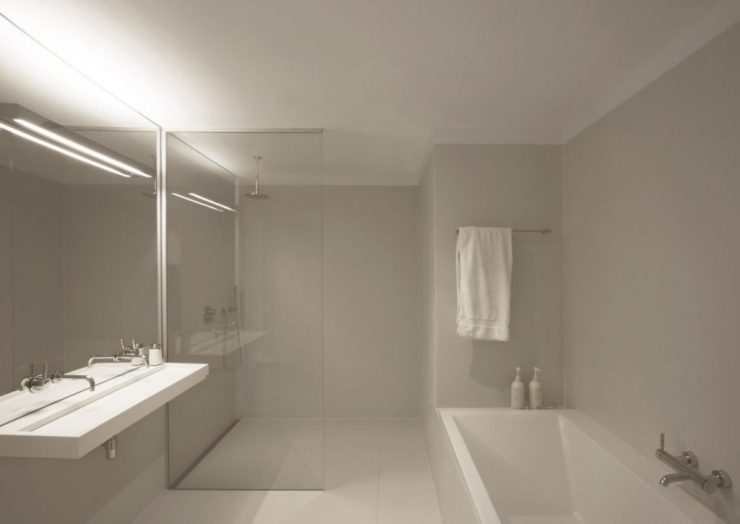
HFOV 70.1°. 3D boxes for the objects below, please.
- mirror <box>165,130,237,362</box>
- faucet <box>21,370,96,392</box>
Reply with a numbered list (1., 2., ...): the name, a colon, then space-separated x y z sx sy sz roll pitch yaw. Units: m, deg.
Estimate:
1. mirror: -1.326 -0.089 4.159 0.526 0.340 1.682 0 -78 0
2. faucet: -1.838 0.696 3.097 0.296 0.119 0.104 6 -95 -21
